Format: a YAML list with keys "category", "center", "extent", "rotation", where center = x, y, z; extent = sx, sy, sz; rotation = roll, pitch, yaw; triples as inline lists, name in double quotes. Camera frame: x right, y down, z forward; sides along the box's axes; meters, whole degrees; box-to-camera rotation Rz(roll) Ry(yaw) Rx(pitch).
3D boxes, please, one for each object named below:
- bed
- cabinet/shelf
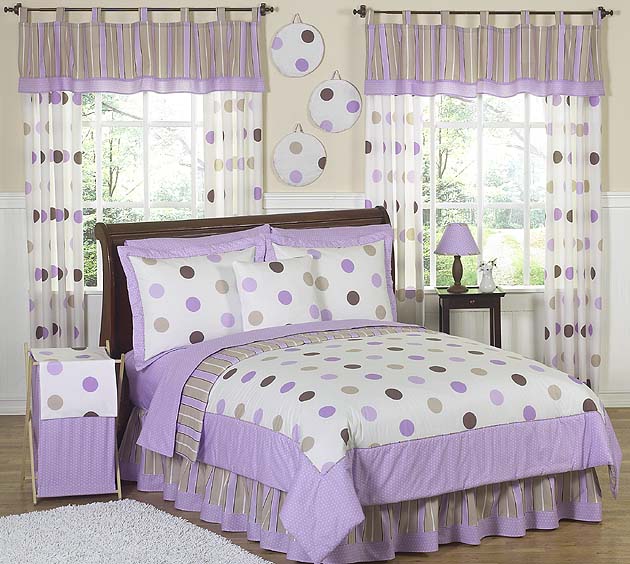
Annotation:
- category: "bed"
  center: [0.012, 0.404, 2.892]
  extent: [1.443, 1.073, 1.728]
  rotation: [-4, 7, -29]
- category: "cabinet/shelf"
  center: [-1.030, 0.605, 3.091]
  extent: [0.523, 0.824, 0.585]
  rotation: [-1, 5, -16]
